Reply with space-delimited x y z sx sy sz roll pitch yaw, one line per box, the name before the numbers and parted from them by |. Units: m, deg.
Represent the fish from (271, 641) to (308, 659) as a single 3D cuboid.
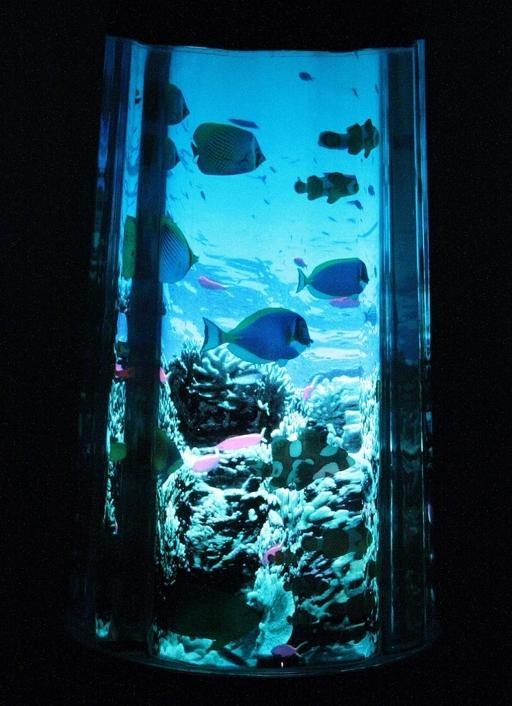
fish | 0.050 0.483 1.114 0.035 0.024 0.024 5 83 -9
